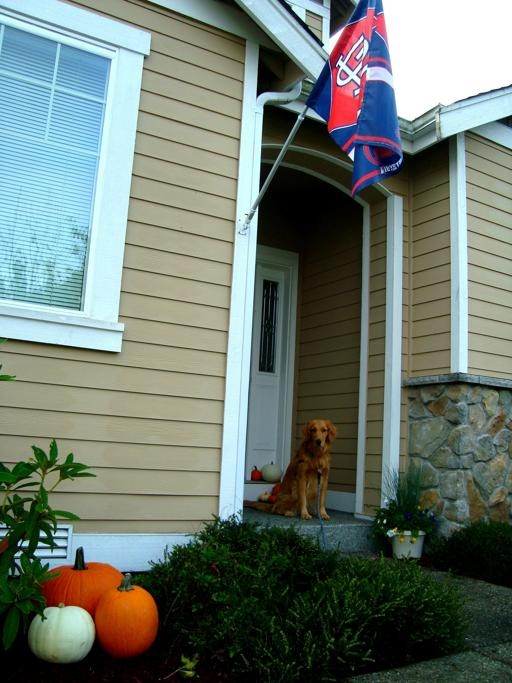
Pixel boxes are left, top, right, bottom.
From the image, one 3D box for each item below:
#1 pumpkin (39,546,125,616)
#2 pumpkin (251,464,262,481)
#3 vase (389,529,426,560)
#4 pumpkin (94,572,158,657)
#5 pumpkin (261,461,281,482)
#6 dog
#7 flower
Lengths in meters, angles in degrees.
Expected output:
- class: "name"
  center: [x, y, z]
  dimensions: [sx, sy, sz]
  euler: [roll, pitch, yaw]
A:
- class: "pumpkin"
  center: [-0.752, 1.014, 2.393]
  dimensions: [0.293, 0.283, 0.299]
  euler: [2, 0, 20]
- class: "pumpkin"
  center: [0.006, 1.446, 6.100]
  dimensions: [0.109, 0.146, 0.112]
  euler: [2, -2, 1]
- class: "vase"
  center: [1.197, 1.605, 4.432]
  dimensions: [0.251, 0.244, 0.341]
  euler: [2, 2, 24]
- class: "pumpkin"
  center: [-0.492, 1.077, 2.238]
  dimensions: [0.251, 0.321, 0.247]
  euler: [0, -11, -5]
- class: "pumpkin"
  center: [0.167, 1.420, 6.051]
  dimensions: [0.193, 0.189, 0.179]
  euler: [3, -9, -15]
- class: "dog"
  center: [0.169, 1.190, 4.869]
  dimensions: [0.447, 0.876, 1.088]
  euler: [14, -24, -31]
- class: "flower"
  center: [1.200, 1.289, 4.540]
  dimensions: [0.553, 0.711, 0.539]
  euler: [4, -11, -15]
